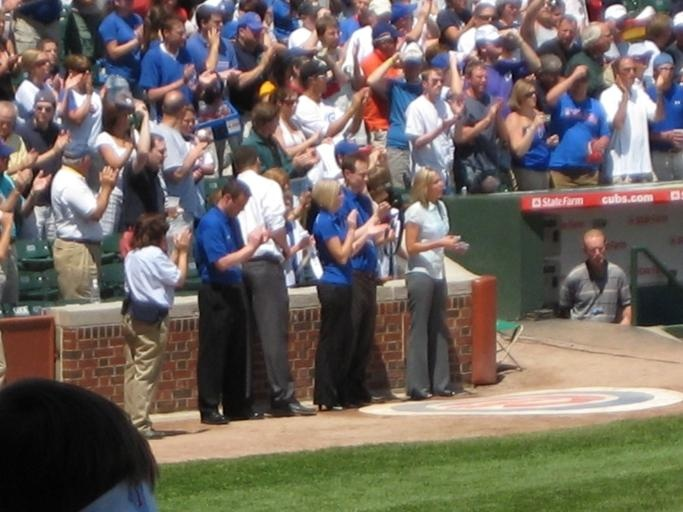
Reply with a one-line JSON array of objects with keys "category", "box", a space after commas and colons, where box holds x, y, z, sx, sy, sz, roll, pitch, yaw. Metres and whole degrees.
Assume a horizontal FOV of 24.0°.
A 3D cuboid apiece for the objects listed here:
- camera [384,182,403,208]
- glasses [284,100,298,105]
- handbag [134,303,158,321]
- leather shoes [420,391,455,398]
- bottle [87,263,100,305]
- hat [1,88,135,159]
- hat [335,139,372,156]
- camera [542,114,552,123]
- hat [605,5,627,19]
[{"category": "camera", "box": [0.675, -0.773, 19.299, 0.094, 0.312, 0.230, -34, 34, 13]}, {"category": "glasses", "box": [-0.583, -1.887, 19.095, 0.094, 0.062, 0.328, -3, -1, 9]}, {"category": "handbag", "box": [-2.045, 0.520, 16.837, 0.236, 0.108, 0.177, 11, -1, -7]}, {"category": "leather shoes", "box": [1.137, 1.544, 18.804, 0.364, 0.101, 0.130, -3, 3, -25]}, {"category": "bottle", "box": [-2.767, 0.233, 17.920, 0.122, 0.351, 0.290, -3, -1, -9]}, {"category": "hat", "box": [-3.065, -1.597, 18.455, 1.205, 0.730, 1.360, -3, -1, -22]}, {"category": "hat", "box": [0.143, -1.347, 19.203, 0.375, 0.188, 0.241, -3, 13, 10]}, {"category": "camera", "box": [2.802, -1.943, 21.788, 0.117, 0.103, 0.119, 0, 0, -1]}, {"category": "hat", "box": [3.979, -3.592, 23.255, 0.226, 0.177, 0.321, 0, 10, -1]}]
